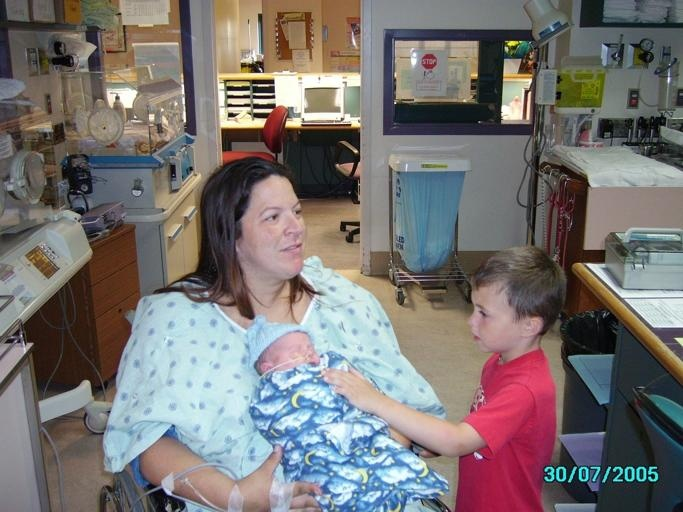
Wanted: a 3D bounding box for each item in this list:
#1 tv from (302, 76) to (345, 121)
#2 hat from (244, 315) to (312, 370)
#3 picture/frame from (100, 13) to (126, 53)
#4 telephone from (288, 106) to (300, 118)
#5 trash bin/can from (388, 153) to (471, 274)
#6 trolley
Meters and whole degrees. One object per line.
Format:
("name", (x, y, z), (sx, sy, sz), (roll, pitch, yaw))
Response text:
("tv", (-0.221, -2.040, 6.762), (0.663, 0.735, 0.495), (0, 9, 1))
("hat", (-0.194, 0.207, 1.417), (0.079, 0.180, 0.129), (22, 27, -2))
("picture/frame", (-2.286, -2.165, 4.880), (0.341, 0.016, 0.393), (-18, -26, -33))
("telephone", (-0.647, -1.917, 6.739), (0.156, 0.177, 0.125), (0, 19, -4))
("trash bin/can", (0.720, -0.317, 4.037), (0.512, 0.897, 0.575), (0, -1, 25))
("trolley", (0.697, -0.208, 4.062), (0.698, 1.125, 0.731), (3, 13, 21))
